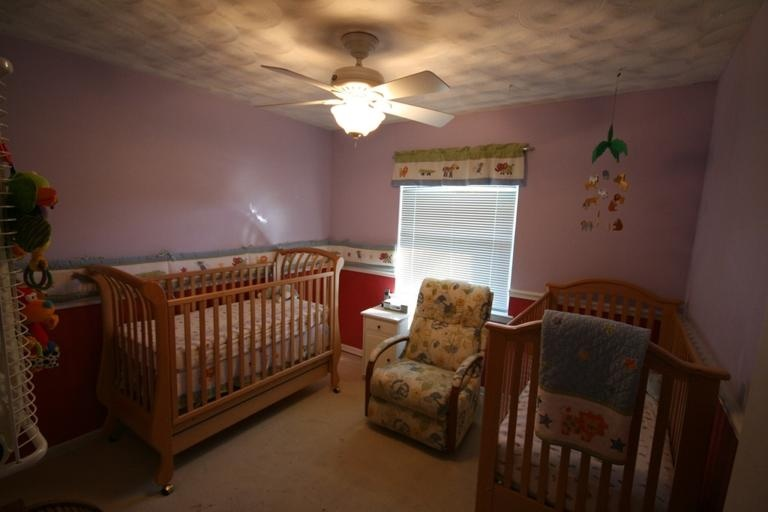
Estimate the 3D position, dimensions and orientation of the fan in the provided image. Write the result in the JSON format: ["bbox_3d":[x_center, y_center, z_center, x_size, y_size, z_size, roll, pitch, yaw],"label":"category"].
[{"bbox_3d":[-0.047,-1.145,3.702,0.925,0.453,0.934,2,-10,18],"label":"fan"}]

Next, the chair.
[{"bbox_3d":[0.406,0.930,4.645,0.953,1.350,0.873,4,7,28],"label":"chair"}]

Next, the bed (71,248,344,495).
[{"bbox_3d":[-1.413,0.771,4.748,1.201,1.542,2.058,7,12,39],"label":"bed"}]

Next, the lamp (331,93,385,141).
[{"bbox_3d":[-0.212,-1.008,3.662,0.304,0.119,0.305,-3,-13,25],"label":"lamp"}]
